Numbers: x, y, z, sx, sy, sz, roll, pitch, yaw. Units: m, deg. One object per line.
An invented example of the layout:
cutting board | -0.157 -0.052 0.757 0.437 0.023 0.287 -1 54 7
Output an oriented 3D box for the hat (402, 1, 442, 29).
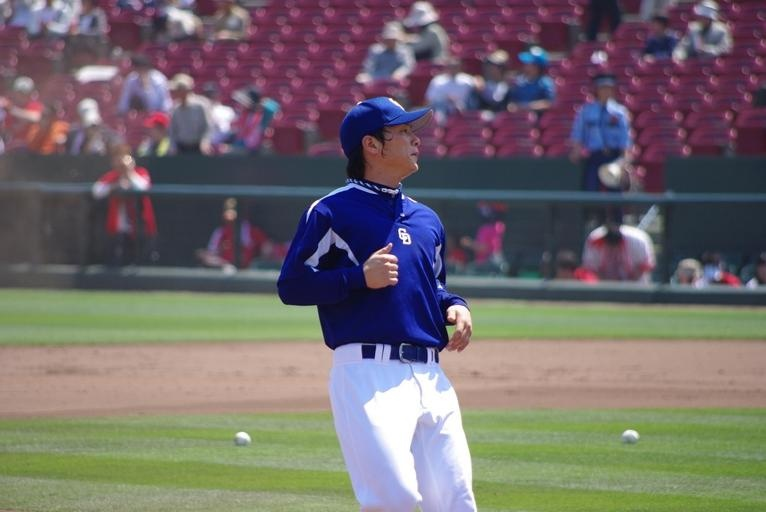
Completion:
hat | 0.708 -4.307 30.378 0.584 0.265 0.557 -4 4 0

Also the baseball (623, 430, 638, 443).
baseball | 3.125 2.264 21.503 0.213 0.119 0.238 1 0 15

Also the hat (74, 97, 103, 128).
hat | -4.807 -2.376 28.342 0.431 0.246 0.688 -1 33 -10

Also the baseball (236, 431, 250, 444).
baseball | -1.697 2.265 21.268 0.212 0.144 0.191 1 1 -4

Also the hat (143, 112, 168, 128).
hat | -3.618 -2.224 27.885 0.390 0.153 0.242 -1 10 13
